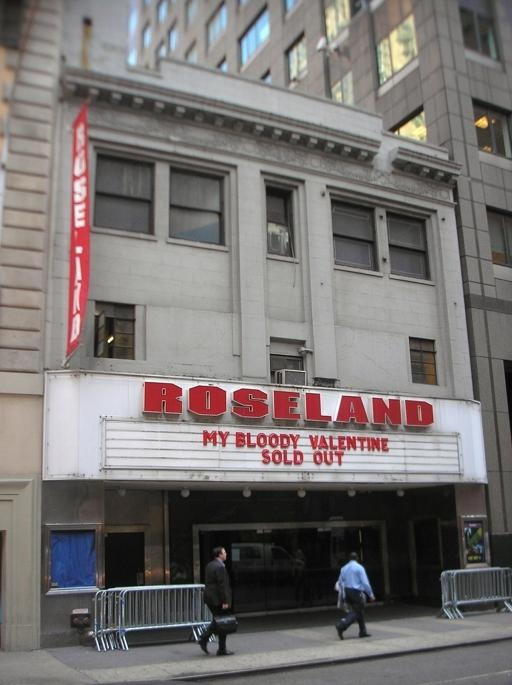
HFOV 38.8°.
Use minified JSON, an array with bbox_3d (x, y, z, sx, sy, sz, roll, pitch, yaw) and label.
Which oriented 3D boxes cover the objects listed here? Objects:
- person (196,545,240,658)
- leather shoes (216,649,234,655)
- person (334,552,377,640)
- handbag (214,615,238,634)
[{"bbox_3d":[-0.686,4.283,12.051,0.504,1.712,0.690,1,-13,-4],"label":"person"},{"bbox_3d":[-0.521,5.133,12.079,0.251,0.125,0.110,4,-10,-27],"label":"leather shoes"},{"bbox_3d":[1.909,4.902,14.140,0.713,1.546,1.504,-1,-14,7],"label":"person"},{"bbox_3d":[-0.477,4.572,11.784,0.373,0.354,0.283,16,-37,-32],"label":"handbag"}]
